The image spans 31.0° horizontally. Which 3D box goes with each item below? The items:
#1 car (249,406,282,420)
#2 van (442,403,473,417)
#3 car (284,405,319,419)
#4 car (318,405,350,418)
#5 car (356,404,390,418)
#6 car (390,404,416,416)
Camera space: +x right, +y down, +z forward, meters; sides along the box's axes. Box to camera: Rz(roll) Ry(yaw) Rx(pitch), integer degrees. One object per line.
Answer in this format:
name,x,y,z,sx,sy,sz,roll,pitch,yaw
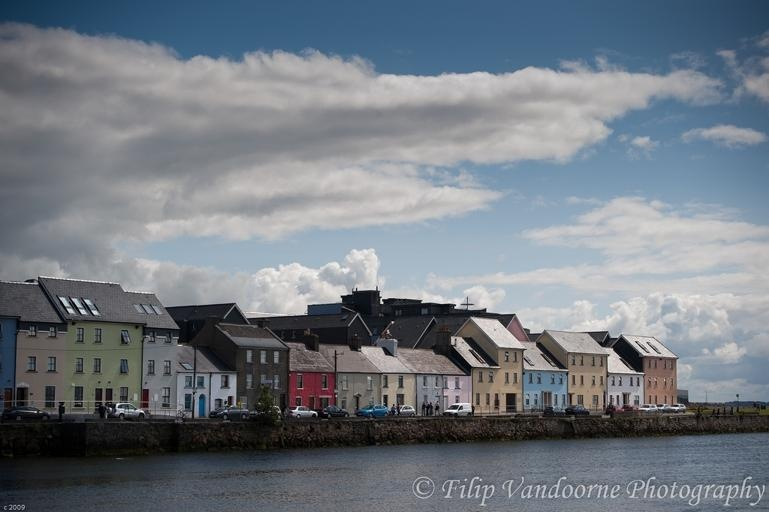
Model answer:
car,-12.075,15.946,141.371,2.310,1.558,3.349,1,-11,-20
van,8.842,18.426,168.064,2.014,1.615,5.018,-10,-12,30
car,-9.470,17.622,156.578,3.296,1.018,1.388,-1,1,-29
car,-6.064,17.882,159.599,2.990,0.948,1.324,-1,-1,-23
car,-1.300,17.981,161.527,1.495,0.954,3.004,-9,-16,44
car,1.869,18.333,165.331,2.351,1.514,4.713,-6,-11,12
